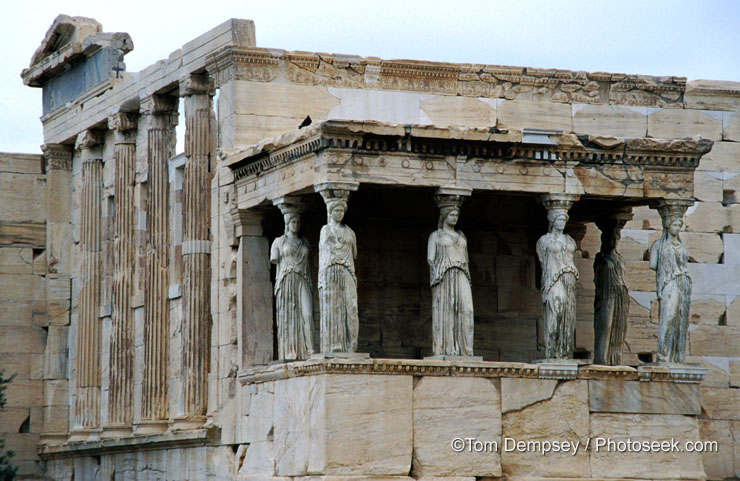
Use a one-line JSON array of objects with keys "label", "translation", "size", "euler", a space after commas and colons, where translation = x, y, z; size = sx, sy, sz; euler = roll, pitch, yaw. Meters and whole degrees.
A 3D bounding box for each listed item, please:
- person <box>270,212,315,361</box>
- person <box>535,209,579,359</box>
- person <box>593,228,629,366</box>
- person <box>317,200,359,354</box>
[{"label": "person", "translation": [-1.631, 0.914, 44.617], "size": [0.860, 3.168, 0.799], "euler": [4, 0, 4]}, {"label": "person", "translation": [3.891, 0.914, 44.290], "size": [0.779, 3.138, 0.895], "euler": [-1, -19, 0]}, {"label": "person", "translation": [5.301, 1.222, 46.394], "size": [0.842, 2.829, 0.788], "euler": [2, -1, -33]}, {"label": "person", "translation": [-0.649, 0.698, 43.333], "size": [0.748, 3.095, 0.930], "euler": [0, -19, -4]}]
